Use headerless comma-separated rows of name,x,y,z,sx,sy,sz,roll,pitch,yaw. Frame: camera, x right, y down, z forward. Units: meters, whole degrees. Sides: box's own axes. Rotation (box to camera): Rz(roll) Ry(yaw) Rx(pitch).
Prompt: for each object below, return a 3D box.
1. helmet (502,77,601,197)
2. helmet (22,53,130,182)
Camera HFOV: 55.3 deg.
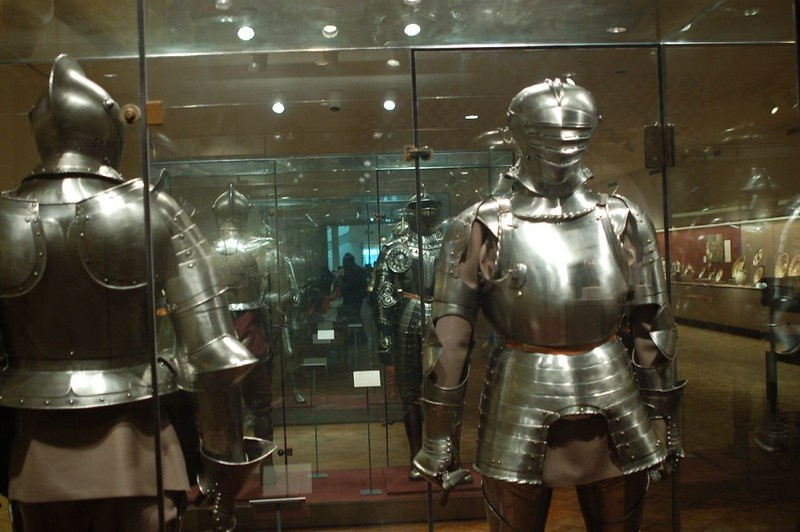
helmet,0.673,-0.563,3.343,0.392,0.513,0.420,1,15,3
helmet,-1.307,-0.577,3.342,0.500,0.540,0.455,-3,0,14
